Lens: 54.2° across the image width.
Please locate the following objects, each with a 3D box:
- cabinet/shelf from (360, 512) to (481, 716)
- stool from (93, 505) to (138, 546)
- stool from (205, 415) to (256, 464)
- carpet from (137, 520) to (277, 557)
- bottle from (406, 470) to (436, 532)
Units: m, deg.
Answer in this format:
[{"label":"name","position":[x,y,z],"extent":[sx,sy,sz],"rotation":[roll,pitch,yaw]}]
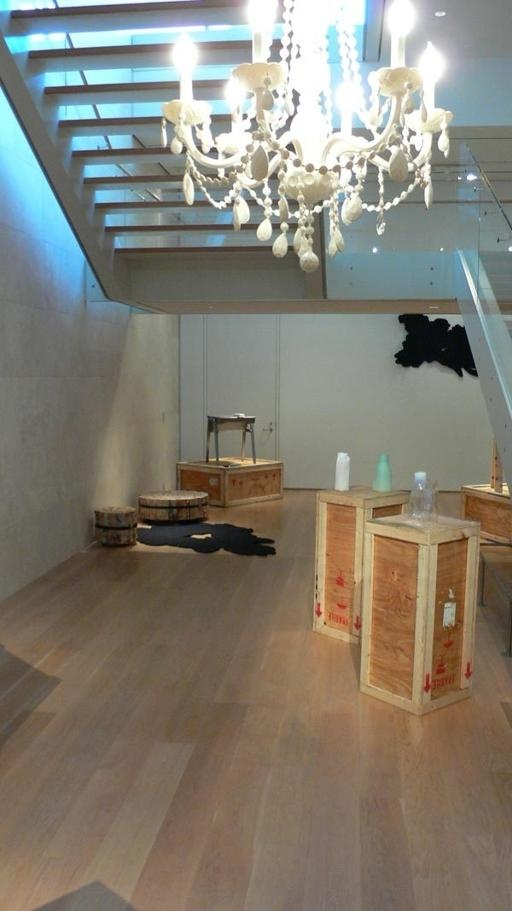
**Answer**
[{"label":"cabinet/shelf","position":[0.756,0.741,2.352],"extent":[0.557,0.846,0.387],"rotation":[-1,-6,17]},{"label":"stool","position":[-1.557,0.732,5.496],"extent":[0.364,0.339,0.398],"rotation":[3,7,27]},{"label":"stool","position":[-0.451,-0.278,8.636],"extent":[0.629,0.737,0.292],"rotation":[-2,15,-15]},{"label":"carpet","position":[-0.610,0.968,5.906],"extent":[1.784,0.327,1.320],"rotation":[-1,-7,11]},{"label":"bottle","position":[0.778,0.228,2.474],"extent":[0.175,0.389,0.194],"rotation":[0,1,11]}]
